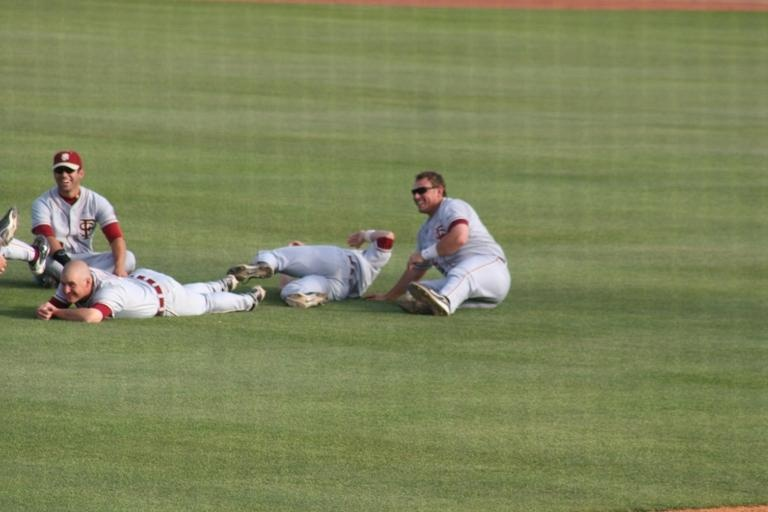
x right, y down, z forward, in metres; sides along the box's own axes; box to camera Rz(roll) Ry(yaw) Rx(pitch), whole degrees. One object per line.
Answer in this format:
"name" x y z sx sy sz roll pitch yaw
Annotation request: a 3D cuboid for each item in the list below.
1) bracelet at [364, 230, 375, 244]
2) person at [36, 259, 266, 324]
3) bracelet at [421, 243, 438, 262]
"bracelet" -0.175 -0.337 30.683 0.242 0.139 0.184 4 12 -14
"person" -3.872 0.661 29.752 3.471 0.688 1.250 3 1 -27
"bracelet" 0.800 -0.060 29.957 0.229 0.133 0.301 -34 11 -33
